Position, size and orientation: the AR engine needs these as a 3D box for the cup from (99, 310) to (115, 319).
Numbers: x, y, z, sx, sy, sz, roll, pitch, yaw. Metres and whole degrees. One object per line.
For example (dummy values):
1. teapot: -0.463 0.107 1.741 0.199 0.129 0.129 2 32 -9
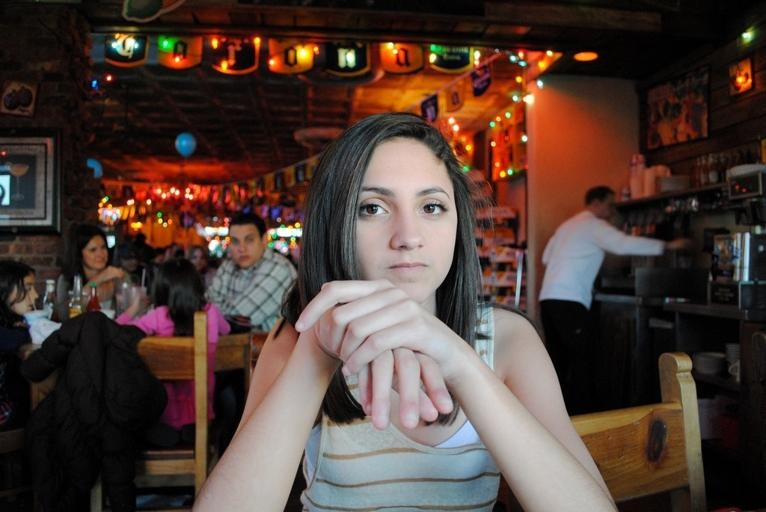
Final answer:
1. cup: -1.833 0.390 4.146 0.087 0.068 0.091 -1 -8 0

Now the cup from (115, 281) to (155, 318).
1. cup: -1.835 0.333 4.585 0.240 0.263 0.253 0 -2 0

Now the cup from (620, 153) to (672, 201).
1. cup: 2.555 -0.791 6.164 0.396 0.504 0.489 3 -7 -27

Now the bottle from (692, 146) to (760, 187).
1. bottle: 2.981 -0.801 5.548 0.197 0.254 0.649 -1 -7 -10
